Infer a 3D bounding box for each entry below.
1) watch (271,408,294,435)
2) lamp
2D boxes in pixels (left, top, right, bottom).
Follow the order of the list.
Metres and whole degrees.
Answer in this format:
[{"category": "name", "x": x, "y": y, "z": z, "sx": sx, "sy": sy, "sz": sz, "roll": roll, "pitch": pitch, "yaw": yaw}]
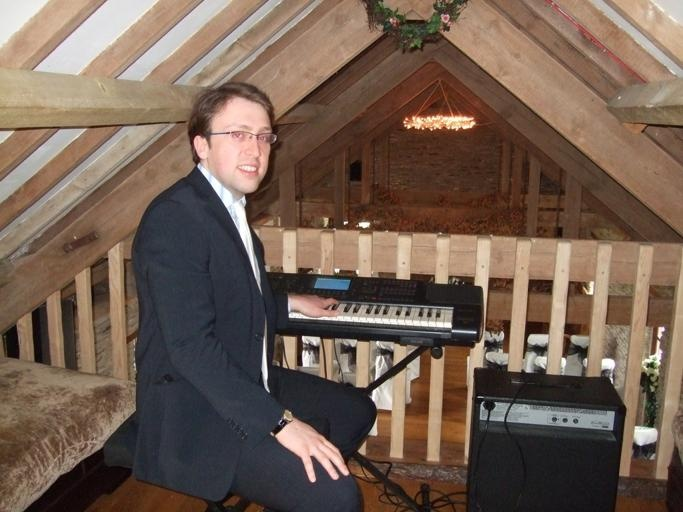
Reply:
[{"category": "watch", "x": -0.212, "y": 0.580, "z": 2.224, "sx": 0.038, "sy": 0.062, "sz": 0.064, "roll": 41, "pitch": 6, "yaw": 26}, {"category": "lamp", "x": 1.389, "y": -2.209, "z": 8.963, "sx": 0.914, "sy": 0.910, "sz": 0.946, "roll": -1, "pitch": 9, "yaw": -5}]
